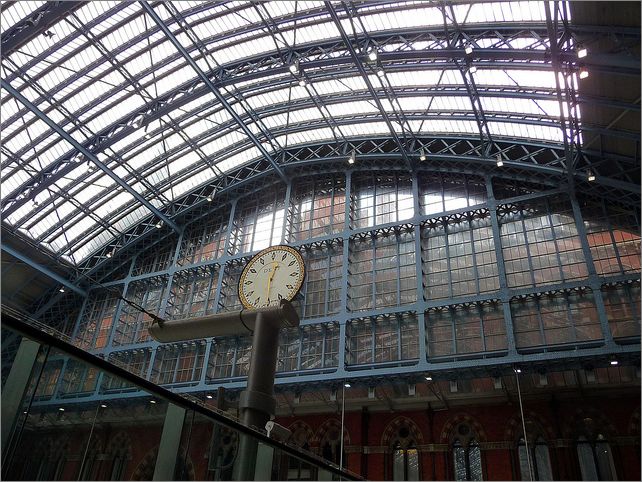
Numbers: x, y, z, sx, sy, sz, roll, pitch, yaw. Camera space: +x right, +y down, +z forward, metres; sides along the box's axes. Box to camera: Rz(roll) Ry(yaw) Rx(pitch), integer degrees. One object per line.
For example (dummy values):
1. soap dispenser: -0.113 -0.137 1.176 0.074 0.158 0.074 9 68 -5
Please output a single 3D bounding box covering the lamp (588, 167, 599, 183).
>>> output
1. lamp: 19.611 -4.746 37.810 0.697 1.107 1.076 -9 13 -40
